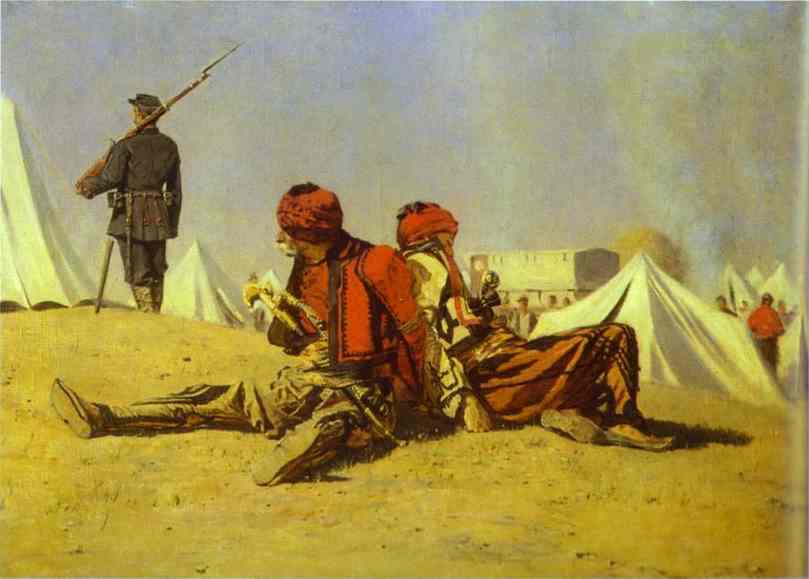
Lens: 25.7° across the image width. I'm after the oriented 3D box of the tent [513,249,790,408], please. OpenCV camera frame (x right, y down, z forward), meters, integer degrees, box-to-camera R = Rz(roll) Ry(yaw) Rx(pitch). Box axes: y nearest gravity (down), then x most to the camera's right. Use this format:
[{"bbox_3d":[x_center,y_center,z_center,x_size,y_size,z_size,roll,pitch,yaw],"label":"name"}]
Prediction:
[{"bbox_3d":[1.798,0.055,13.117,1.874,0.644,1.859,4,8,17],"label":"tent"}]
